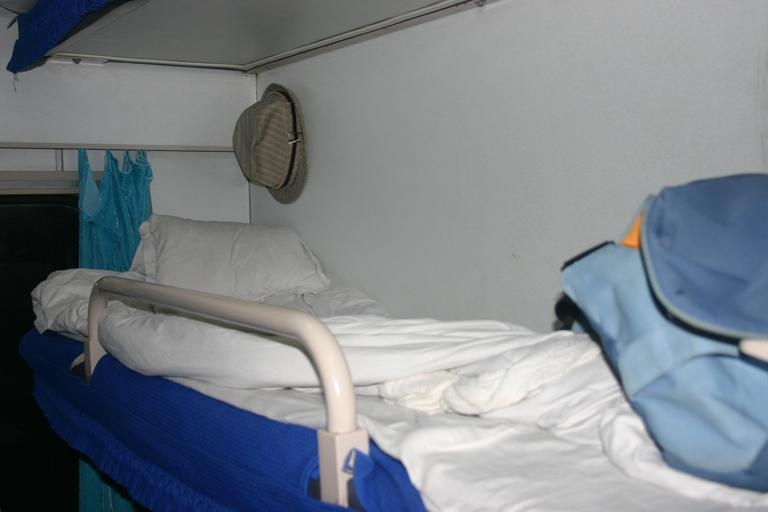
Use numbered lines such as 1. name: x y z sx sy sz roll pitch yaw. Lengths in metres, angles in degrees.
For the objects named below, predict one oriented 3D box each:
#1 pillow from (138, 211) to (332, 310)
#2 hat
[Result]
1. pillow: -0.764 0.030 3.121 0.689 0.576 0.181 -5 -37 -26
2. hat: -0.676 -0.668 3.446 0.264 0.702 0.469 -1 5 -37
